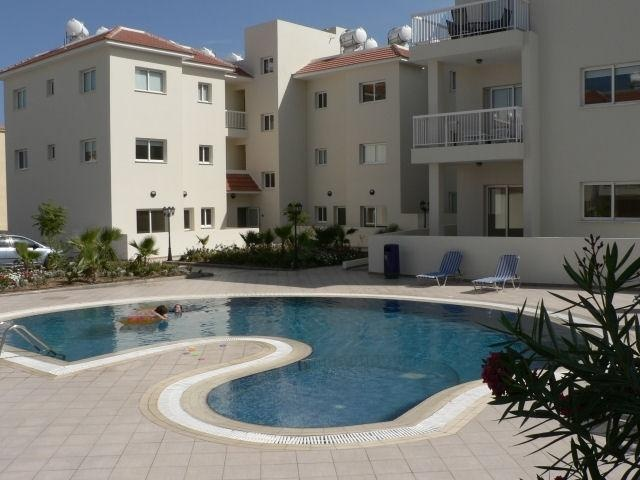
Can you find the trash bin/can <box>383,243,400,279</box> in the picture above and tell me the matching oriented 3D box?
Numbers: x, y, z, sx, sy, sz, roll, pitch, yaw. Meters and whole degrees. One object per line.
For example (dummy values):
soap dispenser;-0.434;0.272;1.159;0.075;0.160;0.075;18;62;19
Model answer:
trash bin/can;2.916;0.872;20.212;0.574;1.411;0.273;-2;3;-1
